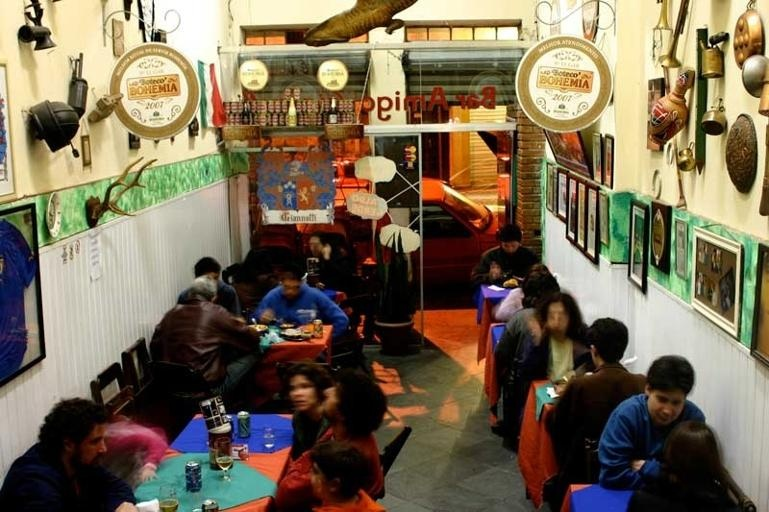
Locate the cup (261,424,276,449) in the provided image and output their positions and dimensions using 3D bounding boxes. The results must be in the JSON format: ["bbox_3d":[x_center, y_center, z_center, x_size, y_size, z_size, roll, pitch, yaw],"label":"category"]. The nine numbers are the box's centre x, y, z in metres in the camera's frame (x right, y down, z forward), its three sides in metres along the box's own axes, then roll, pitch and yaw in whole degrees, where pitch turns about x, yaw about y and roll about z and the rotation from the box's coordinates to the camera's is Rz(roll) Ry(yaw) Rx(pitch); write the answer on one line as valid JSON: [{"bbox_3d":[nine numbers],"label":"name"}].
[{"bbox_3d":[-0.953,1.516,4.764,0.091,0.143,0.093,1,8,0],"label":"cup"}]

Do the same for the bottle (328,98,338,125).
[{"bbox_3d":[-0.851,-2.418,9.511,0.168,0.404,0.211,-4,12,-5],"label":"bottle"}]

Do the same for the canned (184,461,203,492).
[{"bbox_3d":[-1.365,1.568,4.112,0.113,0.181,0.153,-8,14,-22],"label":"canned"}]

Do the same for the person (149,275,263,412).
[{"bbox_3d":[-2.095,1.089,6.757,1.271,1.580,1.047,2,8,6],"label":"person"}]

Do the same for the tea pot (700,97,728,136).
[{"bbox_3d":[2.344,-0.998,4.110,0.147,0.260,0.189,1,13,15],"label":"tea pot"}]

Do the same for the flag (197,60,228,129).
[{"bbox_3d":[-2.805,-2.650,9.391,0.349,1.063,1.039,-4,13,-7],"label":"flag"}]

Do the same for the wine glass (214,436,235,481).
[{"bbox_3d":[-1.204,1.530,4.357,0.155,0.338,0.164,-6,-8,7],"label":"wine glass"}]

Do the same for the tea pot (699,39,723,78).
[{"bbox_3d":[2.337,-1.421,4.122,0.139,0.227,0.135,-3,4,0],"label":"tea pot"}]

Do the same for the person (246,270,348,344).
[{"bbox_3d":[-1.071,0.539,7.685,1.319,0.989,0.839,0,9,3],"label":"person"}]

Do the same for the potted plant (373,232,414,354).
[{"bbox_3d":[0.114,0.632,9.758,0.614,1.890,0.601,-7,-9,26],"label":"potted plant"}]

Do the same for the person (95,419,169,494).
[{"bbox_3d":[-1.918,1.536,4.476,0.450,0.271,0.836,-11,26,-28],"label":"person"}]

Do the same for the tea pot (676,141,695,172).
[{"bbox_3d":[2.399,-0.796,4.539,0.099,0.209,0.149,-1,22,-22],"label":"tea pot"}]

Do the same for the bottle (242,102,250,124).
[{"bbox_3d":[-2.302,-2.402,9.621,0.122,0.346,0.106,-3,12,-3],"label":"bottle"}]
